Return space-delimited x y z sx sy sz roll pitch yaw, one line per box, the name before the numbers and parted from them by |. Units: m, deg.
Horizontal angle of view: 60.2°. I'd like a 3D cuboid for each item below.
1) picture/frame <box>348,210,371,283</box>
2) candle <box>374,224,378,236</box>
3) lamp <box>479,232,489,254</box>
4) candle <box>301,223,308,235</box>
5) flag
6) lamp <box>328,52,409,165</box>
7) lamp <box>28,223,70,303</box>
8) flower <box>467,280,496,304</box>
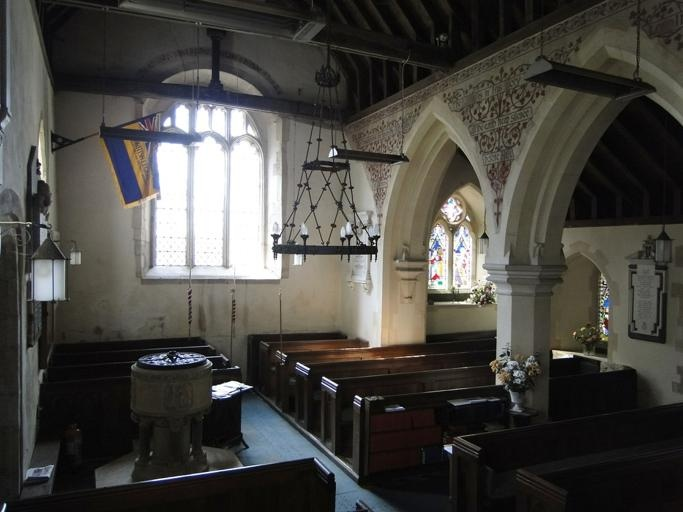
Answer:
picture/frame | 0.339 -0.156 10.579 0.189 1.685 1.307 1 -1 -16
candle | 0.457 -0.342 7.969 0.056 0.106 0.147 0 0 12
lamp | 3.454 -0.306 14.498 0.175 0.481 0.373 0 0 3
candle | -0.482 -0.336 7.600 0.076 0.160 0.375 0 0 -8
flag | -3.487 -1.558 9.715 0.113 1.479 1.086 24 50 40
lamp | 0.561 -2.336 9.478 1.037 2.060 3.762 0 0 6
lamp | -2.847 0.126 5.779 0.315 0.608 0.141 0 0 -33
flower | 3.125 0.835 13.230 0.457 0.582 0.521 -1 30 -1
